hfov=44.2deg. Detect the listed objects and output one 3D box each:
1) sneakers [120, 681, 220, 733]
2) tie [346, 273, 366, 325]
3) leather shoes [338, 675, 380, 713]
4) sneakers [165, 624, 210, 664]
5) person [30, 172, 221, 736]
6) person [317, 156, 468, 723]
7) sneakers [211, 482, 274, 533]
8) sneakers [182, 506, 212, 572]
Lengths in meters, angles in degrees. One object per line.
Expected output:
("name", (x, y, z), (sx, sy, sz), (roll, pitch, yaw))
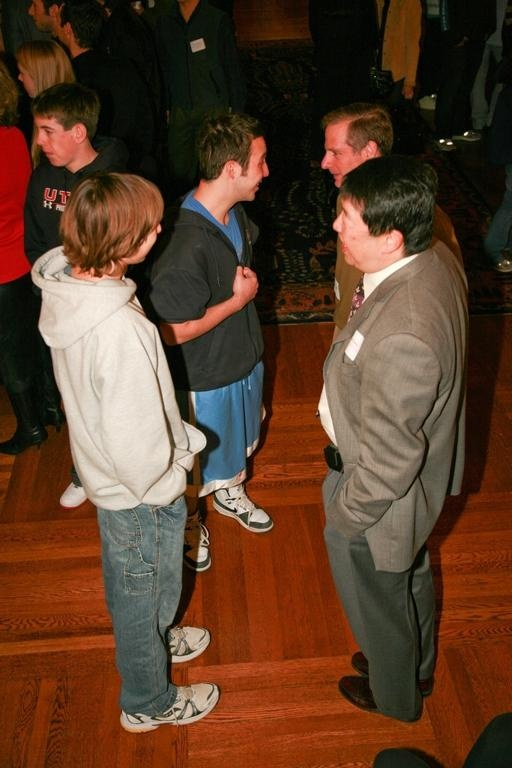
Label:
("sneakers", (-0.281, 0.977, 1.943), (0.332, 0.142, 0.121), (-10, 47, -13))
("tie", (0.287, -0.237, 1.764), (0.037, 0.136, 0.104), (10, 17, 18))
("leather shoes", (0.322, 0.963, 1.978), (0.130, 0.053, 0.070), (30, 53, 14))
("sneakers", (-0.224, 0.874, 2.124), (0.175, 0.072, 0.070), (-1, 65, -35))
("person", (-0.295, 0.311, 1.621), (0.320, 1.602, 0.450), (-3, 35, 5))
("person", (0.386, 0.270, 1.669), (0.414, 1.600, 0.543), (-3, 35, 5))
("sneakers", (-0.062, 0.523, 2.615), (0.250, 0.149, 0.096), (24, 49, 16))
("sneakers", (-0.240, 0.597, 2.464), (0.091, 0.110, 0.250), (-5, 60, -7))
